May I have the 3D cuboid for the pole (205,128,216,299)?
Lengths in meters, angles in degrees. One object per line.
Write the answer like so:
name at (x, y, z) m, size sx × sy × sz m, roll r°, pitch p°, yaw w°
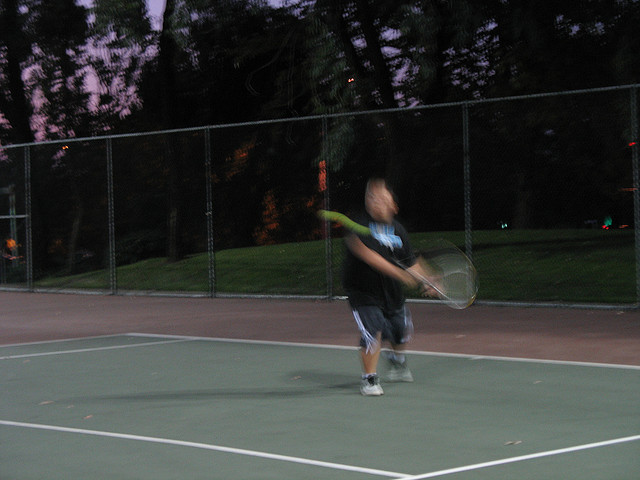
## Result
pole at (-2.607, -0.599, 14.763) m, size 0.151 × 3.439 × 0.607 m, roll -2°, pitch -1°, yaw -10°

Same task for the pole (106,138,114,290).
pole at (-5.324, -0.659, 15.936) m, size 0.107 × 3.109 × 0.741 m, roll -2°, pitch -1°, yaw -19°
